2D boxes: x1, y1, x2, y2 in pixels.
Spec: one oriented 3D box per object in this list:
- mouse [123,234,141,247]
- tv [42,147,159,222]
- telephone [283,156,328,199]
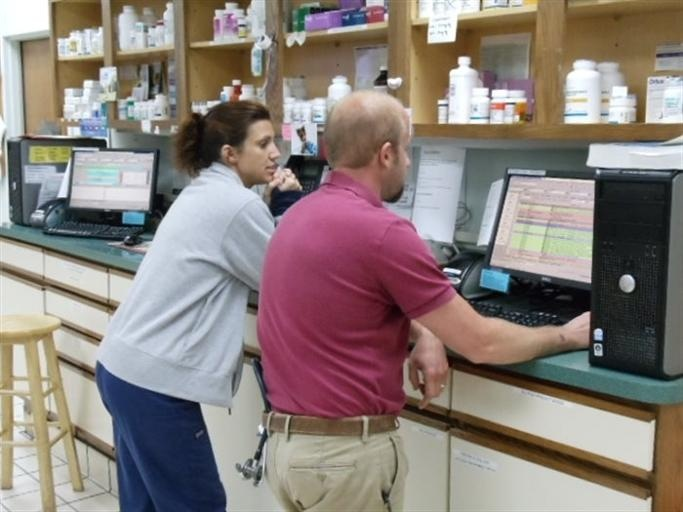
[{"bbox_3d":[-1.161,-0.087,3.139,0.067,0.040,0.098,2,12,-5],"label":"mouse"},{"bbox_3d":[-1.516,-0.441,3.588,0.423,0.321,0.222,6,-10,8],"label":"tv"},{"bbox_3d":[-0.171,-0.443,2.944,0.245,0.234,0.078,21,4,31],"label":"telephone"}]
